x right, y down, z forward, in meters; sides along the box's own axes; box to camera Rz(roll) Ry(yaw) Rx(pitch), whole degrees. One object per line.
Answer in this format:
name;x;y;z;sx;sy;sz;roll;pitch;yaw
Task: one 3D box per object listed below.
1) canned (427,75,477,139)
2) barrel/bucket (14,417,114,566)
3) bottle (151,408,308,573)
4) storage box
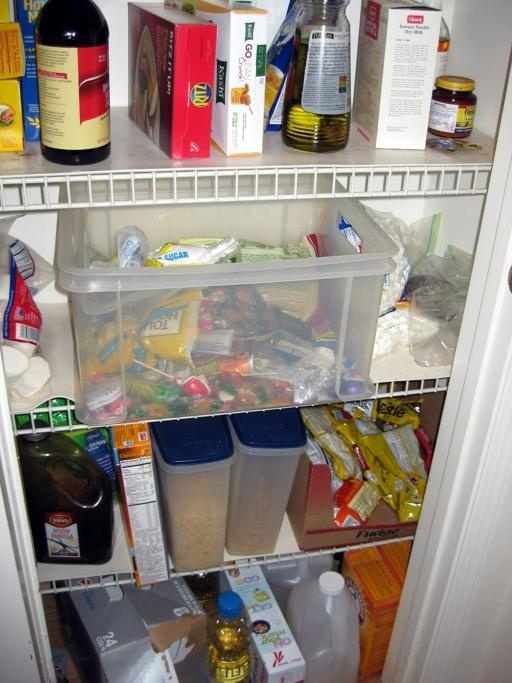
canned;0.291;-0.348;0.730;0.064;0.083;0.041;10;27;15
barrel/bucket;-0.323;0.257;0.891;0.152;0.239;0.151;0;28;0
bottle;-0.027;0.262;1.033;0.365;0.428;0.278;-5;39;-12
storage box;-0.043;-0.155;1.021;0.773;0.414;0.530;-4;36;-10
